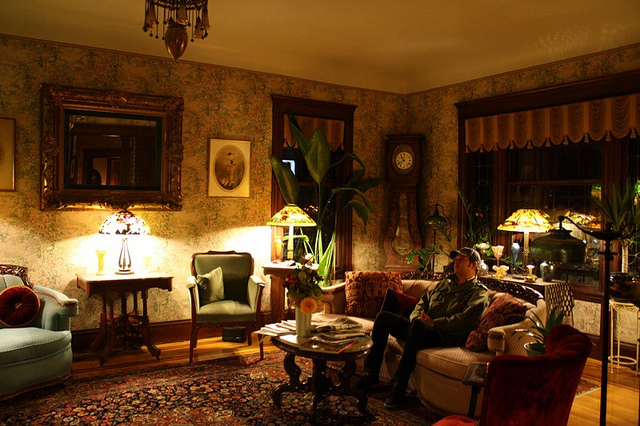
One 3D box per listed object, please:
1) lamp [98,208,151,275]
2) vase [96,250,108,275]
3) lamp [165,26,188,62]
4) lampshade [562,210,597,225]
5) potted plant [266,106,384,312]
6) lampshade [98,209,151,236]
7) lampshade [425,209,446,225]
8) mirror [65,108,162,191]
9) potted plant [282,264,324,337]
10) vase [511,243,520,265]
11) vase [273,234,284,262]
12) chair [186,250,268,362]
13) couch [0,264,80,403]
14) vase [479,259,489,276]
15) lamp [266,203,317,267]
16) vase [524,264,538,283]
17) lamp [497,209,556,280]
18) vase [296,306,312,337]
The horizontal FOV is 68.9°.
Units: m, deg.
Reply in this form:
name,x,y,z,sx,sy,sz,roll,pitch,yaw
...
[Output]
name,x,y,z,sx,sy,sz,roll,pitch,yaw
lamp,-2.351,0.381,5.625,0.518,0.683,0.541,-2,-7,36
vase,-2.621,0.591,5.575,0.118,0.283,0.127,-4,10,-26
lamp,-1.293,-1.530,4.180,0.184,0.265,0.225,-2,10,-19
lampshade,3.346,0.065,6.011,0.511,0.213,0.682,0,-2,39
potted plant,0.093,0.095,7.026,1.734,2.975,1.511,-5,18,-15
lampshade,-2.308,0.146,5.500,0.493,0.312,0.296,-7,12,-43
lampshade,1.734,0.058,6.990,0.294,0.224,0.393,3,9,11
mirror,-2.668,-0.812,5.891,1.052,0.912,0.087,1,0,-24
potted plant,-0.117,0.826,4.426,0.430,0.654,0.404,3,-9,2
vase,2.520,0.517,6.004,0.075,0.260,0.167,6,10,28
vase,-0.582,0.504,6.589,0.155,0.342,0.523,0,9,-6
chair,-1.152,1.107,5.747,0.978,1.205,0.928,1,0,-5
couch,-2.905,1.225,4.838,0.679,1.033,0.895,-5,11,-31
vase,2.081,0.675,5.893,0.092,0.211,0.272,5,10,22
lamp,-0.435,0.295,6.404,0.744,0.897,0.766,-2,-2,33
vase,2.634,0.746,5.807,0.181,0.226,0.198,0,0,-40
lamp,2.568,0.389,5.823,0.710,0.917,0.733,1,3,-2
vase,-0.153,0.996,4.378,0.137,0.285,0.129,1,9,-1
